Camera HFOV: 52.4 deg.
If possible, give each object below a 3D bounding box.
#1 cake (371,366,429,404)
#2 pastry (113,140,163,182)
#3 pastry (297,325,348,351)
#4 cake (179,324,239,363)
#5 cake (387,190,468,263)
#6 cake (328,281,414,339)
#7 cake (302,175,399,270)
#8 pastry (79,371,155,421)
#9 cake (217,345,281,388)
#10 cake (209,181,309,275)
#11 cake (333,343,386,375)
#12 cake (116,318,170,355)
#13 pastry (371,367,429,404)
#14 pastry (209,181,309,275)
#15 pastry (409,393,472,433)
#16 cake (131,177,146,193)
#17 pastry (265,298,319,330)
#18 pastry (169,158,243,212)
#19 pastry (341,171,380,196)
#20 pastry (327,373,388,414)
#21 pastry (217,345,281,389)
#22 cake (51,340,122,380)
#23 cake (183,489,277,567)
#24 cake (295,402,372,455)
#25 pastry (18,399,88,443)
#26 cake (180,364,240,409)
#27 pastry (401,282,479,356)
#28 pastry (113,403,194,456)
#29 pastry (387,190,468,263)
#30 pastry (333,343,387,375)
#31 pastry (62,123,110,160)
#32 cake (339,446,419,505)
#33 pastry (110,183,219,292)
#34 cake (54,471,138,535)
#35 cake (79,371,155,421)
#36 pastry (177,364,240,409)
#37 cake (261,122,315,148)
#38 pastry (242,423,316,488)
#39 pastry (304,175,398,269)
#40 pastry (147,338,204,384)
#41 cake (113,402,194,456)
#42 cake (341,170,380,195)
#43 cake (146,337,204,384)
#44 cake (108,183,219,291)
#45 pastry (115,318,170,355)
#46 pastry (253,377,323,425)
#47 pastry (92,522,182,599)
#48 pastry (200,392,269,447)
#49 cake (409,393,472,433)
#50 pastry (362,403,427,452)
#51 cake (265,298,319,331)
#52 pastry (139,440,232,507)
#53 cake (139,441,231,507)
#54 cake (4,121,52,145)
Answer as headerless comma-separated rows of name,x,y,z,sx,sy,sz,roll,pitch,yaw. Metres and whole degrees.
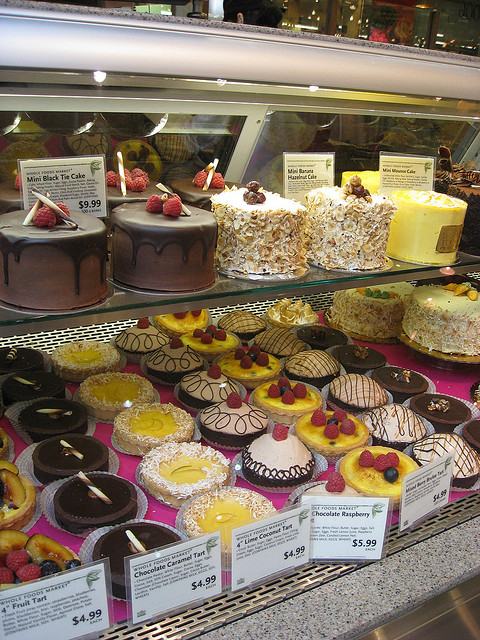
cake,0.761,0.288,2.343,0.202,0.085,0.184,-1,20,-10
pastry,-0.378,-0.577,1.759,0.151,0.134,0.040,-9,55,-14
pastry,0.443,0.086,2.672,0.189,0.039,0.173,1,23,-4
cake,-0.138,0.104,2.495,0.207,0.077,0.218,28,31,33
cake,0.737,-0.370,1.993,0.303,0.195,0.290,10,21,18
cake,0.721,-0.055,2.734,0.431,0.120,0.395,1,22,1
cake,0.322,-0.356,1.837,0.391,0.326,0.357,-1,25,-4
pastry,-0.519,0.297,2.074,0.226,0.066,0.220,16,25,22
cake,0.046,0.224,2.308,0.222,0.099,0.220,10,21,14
cake,0.049,-0.318,1.651,0.342,0.216,0.326,-2,17,-10
cake,0.603,0.187,2.502,0.188,0.088,0.172,2,22,-4
cake,-0.502,0.089,2.453,0.223,0.116,0.207,2,21,-6
pastry,0.767,0.294,2.333,0.201,0.089,0.184,-3,23,-14
pastry,0.024,-0.325,1.641,0.336,0.209,0.292,0,-3,13
pastry,0.885,0.394,2.180,0.187,0.065,0.183,2,20,0
cake,-0.355,-0.471,1.711,0.055,0.047,0.050,-1,24,-4
pastry,0.284,-0.031,2.801,0.218,0.064,0.213,-24,41,-38
pastry,-0.165,-0.518,1.940,0.301,0.162,0.284,-18,40,-31
pastry,0.458,-0.517,1.860,0.160,0.054,0.149,7,32,15
pastry,0.525,0.310,2.245,0.289,0.084,0.238,18,39,-1
pastry,0.002,0.236,2.358,0.309,0.160,0.284,-3,17,-17
cake,-0.709,0.173,2.240,0.205,0.055,0.207,20,26,35
cake,-0.054,0.604,1.578,0.301,0.041,0.166,-10,27,-24
cake,0.366,0.458,1.994,0.321,0.093,0.289,-9,22,-30
pastry,-0.731,0.382,1.887,0.254,0.072,0.236,-2,26,-22
cake,-0.145,0.295,2.105,0.213,0.123,0.196,6,17,-12
pastry,1.009,0.001,2.501,0.402,0.176,0.370,4,25,4
pastry,-0.345,0.423,1.931,0.258,0.078,0.269,28,25,34
pastry,0.737,-0.382,1.997,0.315,0.203,0.298,-14,28,-26
pastry,0.596,0.191,2.496,0.191,0.100,0.175,-2,20,-9
pastry,-0.496,-0.586,1.599,0.068,0.108,0.173,19,30,32
cake,0.486,0.543,1.766,0.260,0.091,0.248,12,42,24
pastry,-0.222,-0.258,1.399,0.304,0.247,0.298,-15,39,-33
cake,-0.455,0.552,1.535,0.243,0.084,0.222,-7,26,-18
cake,-0.528,0.295,2.076,0.223,0.067,0.223,20,28,31
pastry,-0.149,0.291,2.108,0.215,0.119,0.200,12,16,4
cake,0.183,-0.728,1.933,0.219,0.096,0.070,-11,28,-26
pastry,0.133,0.493,1.769,0.243,0.141,0.222,0,20,-3
pastry,0.406,-0.368,1.805,0.334,0.285,0.305,5,27,11
pastry,-0.303,0.192,2.318,0.232,0.133,0.224,5,20,9
cake,-0.336,0.408,1.903,0.216,0.066,0.223,25,27,38
cake,0.501,-0.580,2.028,0.185,0.094,0.172,7,33,15
cake,-0.303,0.192,2.315,0.236,0.132,0.225,7,20,17
cake,-0.174,-0.238,1.372,0.305,0.263,0.288,6,26,0
pastry,-0.501,0.087,2.450,0.223,0.113,0.207,2,25,-3
pastry,0.194,0.354,2.170,0.301,0.117,0.278,10,25,18
pastry,-0.312,0.655,1.401,0.177,0.089,0.231,20,30,35
pastry,-0.022,0.400,1.994,0.240,0.129,0.222,5,19,4
cake,0.885,0.392,2.183,0.190,0.064,0.179,1,21,-4
pastry,0.631,0.441,2.010,0.187,0.067,0.201,3,25,3
cake,0.297,-0.042,2.811,0.220,0.066,0.214,-21,38,-38
pastry,-0.177,0.555,1.744,0.318,0.092,0.297,-1,16,33
cake,-0.199,0.539,1.738,0.272,0.084,0.292,24,29,32
cake,-0.637,-0.559,1.467,0.133,0.068,0.052,-9,27,-21
